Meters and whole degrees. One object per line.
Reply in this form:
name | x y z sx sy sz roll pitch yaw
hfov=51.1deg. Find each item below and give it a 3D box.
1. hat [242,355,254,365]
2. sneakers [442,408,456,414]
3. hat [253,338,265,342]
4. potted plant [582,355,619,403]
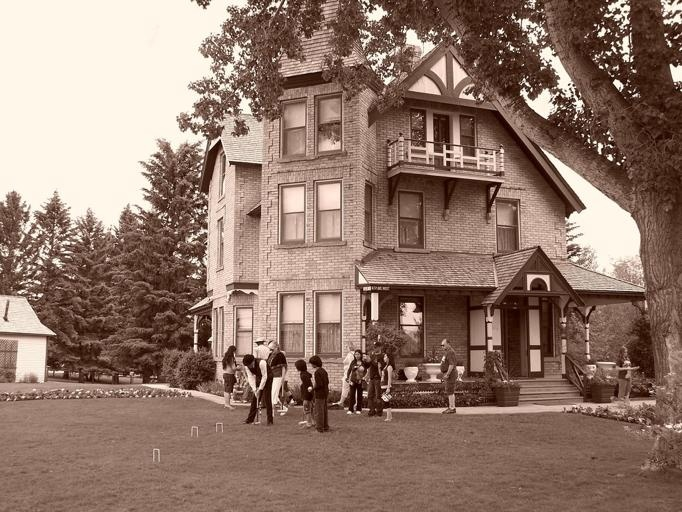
hat | -2.616 2.931 20.154 0.221 0.278 0.308 -2 5 4
sneakers | 3.407 4.872 22.376 0.460 0.210 0.182 1 -13 5
hat | -2.823 2.909 24.748 0.449 0.174 0.504 -2 -10 4
potted plant | 9.533 4.494 26.286 1.236 1.579 1.459 -5 -9 35
